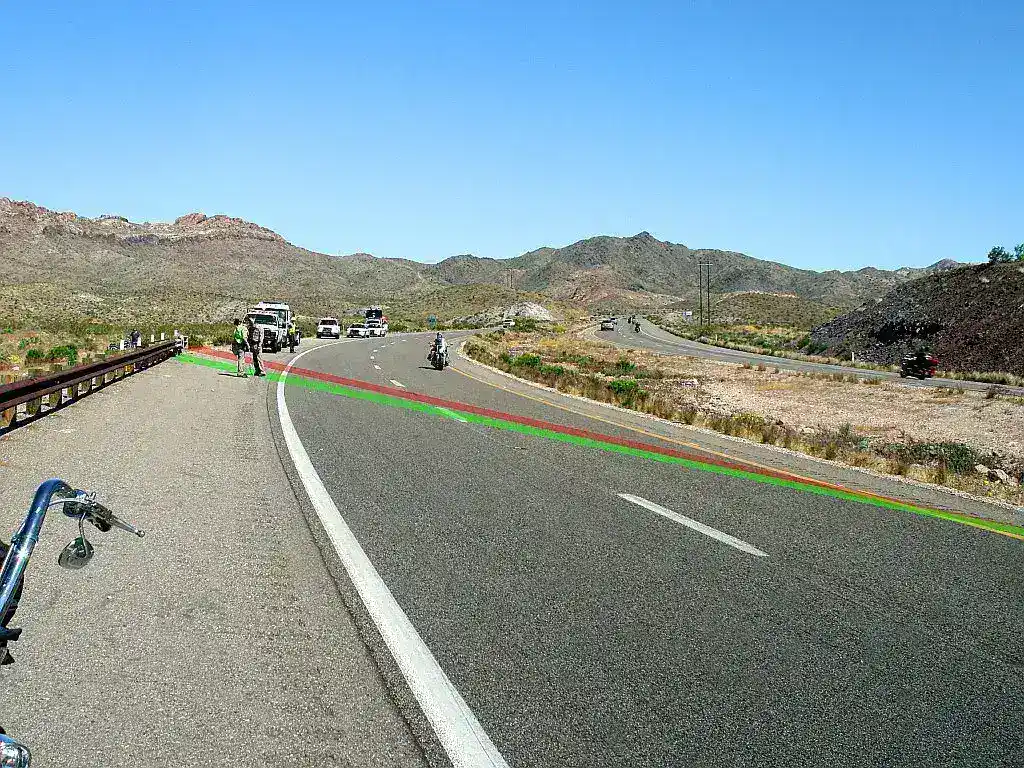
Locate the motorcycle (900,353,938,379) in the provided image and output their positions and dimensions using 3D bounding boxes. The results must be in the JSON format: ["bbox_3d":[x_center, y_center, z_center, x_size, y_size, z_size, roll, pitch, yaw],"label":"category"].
[{"bbox_3d":[25.565,-1.083,39.121,1.681,1.406,1.637,6,8,23],"label":"motorcycle"}]

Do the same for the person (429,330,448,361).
[{"bbox_3d":[-3.562,-1.550,29.284,1.135,1.149,2.083,1,-5,-12],"label":"person"}]

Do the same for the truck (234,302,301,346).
[{"bbox_3d":[-14.776,-3.399,36.644,3.303,3.003,5.489,0,-1,-4],"label":"truck"}]

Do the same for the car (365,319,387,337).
[{"bbox_3d":[-16.195,-6.469,72.417,2.406,2.039,3.819,0,-3,0],"label":"car"}]

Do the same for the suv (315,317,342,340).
[{"bbox_3d":[-17.353,-5.186,58.813,1.830,1.410,3.052,-1,-6,-6],"label":"suv"}]

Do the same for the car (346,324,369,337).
[{"bbox_3d":[-16.831,-5.718,67.683,1.578,1.205,2.618,-1,-6,-2],"label":"car"}]
